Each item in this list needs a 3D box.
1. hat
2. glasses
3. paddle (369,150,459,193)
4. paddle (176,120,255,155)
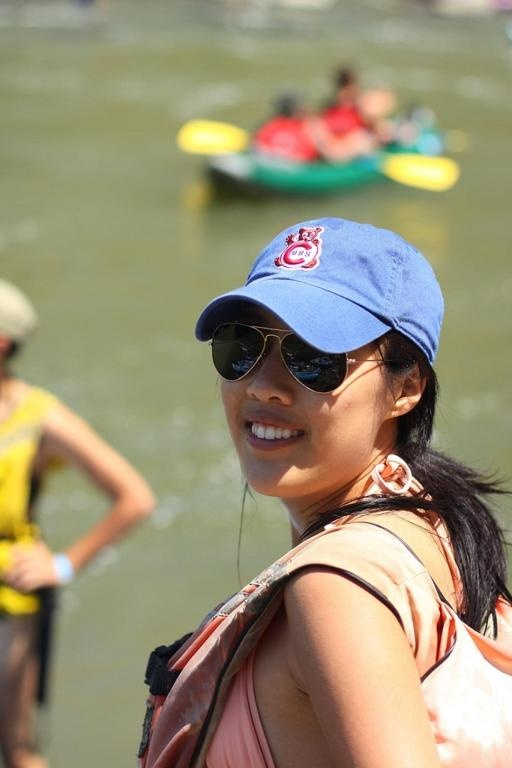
[{"bbox_3d":[0.172,-0.171,1.745,0.300,0.420,0.180,5,80,50],"label":"hat"},{"bbox_3d":[0.039,-0.055,1.742,0.208,0.212,0.055,7,82,36],"label":"glasses"},{"bbox_3d":[0.464,-0.580,2.551,0.270,0.069,0.092,5,22,-36],"label":"paddle"},{"bbox_3d":[-0.102,-0.610,2.291,0.137,0.082,0.120,25,46,36],"label":"paddle"}]
